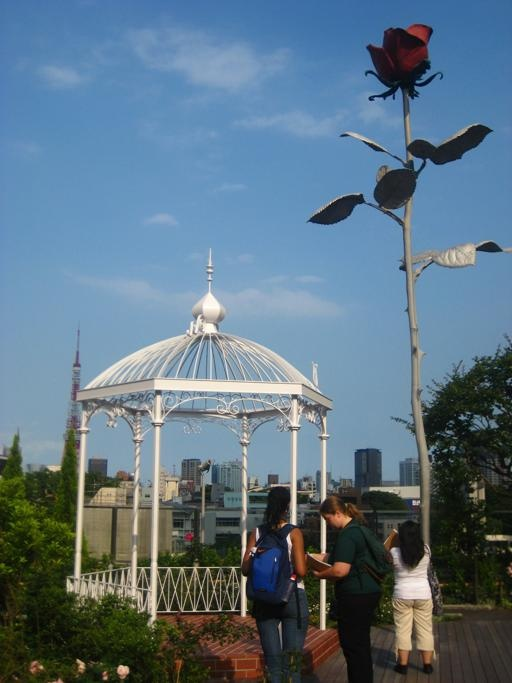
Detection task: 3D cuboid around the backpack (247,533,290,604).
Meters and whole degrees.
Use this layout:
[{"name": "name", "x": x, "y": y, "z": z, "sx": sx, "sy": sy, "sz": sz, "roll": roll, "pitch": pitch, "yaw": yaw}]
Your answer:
[{"name": "backpack", "x": 0.096, "y": 1.804, "z": 9.350, "sx": 0.371, "sy": 0.575, "sz": 0.195, "roll": -4, "pitch": -14, "yaw": 11}]

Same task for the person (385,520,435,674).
[{"name": "person", "x": 1.400, "y": 2.368, "z": 10.809, "sx": 0.402, "sy": 1.354, "sz": 0.920, "roll": -3, "pitch": -14, "yaw": 7}]

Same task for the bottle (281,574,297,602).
[{"name": "bottle", "x": 0.258, "y": 1.955, "z": 9.294, "sx": 0.128, "sy": 0.210, "sz": 0.067, "roll": 2, "pitch": -14, "yaw": -14}]

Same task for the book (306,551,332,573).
[{"name": "book", "x": 0.525, "y": 1.795, "z": 9.575, "sx": 0.175, "sy": 0.084, "sz": 0.223, "roll": 2, "pitch": 0, "yaw": 23}]
